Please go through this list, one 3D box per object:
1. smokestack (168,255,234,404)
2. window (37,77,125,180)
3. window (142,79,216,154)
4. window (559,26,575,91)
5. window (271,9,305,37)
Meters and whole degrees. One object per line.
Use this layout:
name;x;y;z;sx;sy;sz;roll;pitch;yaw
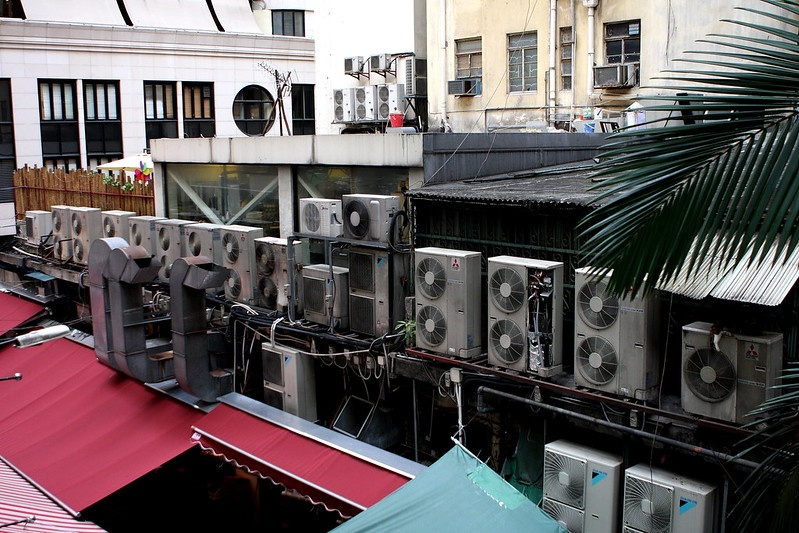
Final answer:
smokestack;-4.054;1.291;16.690;0.972;2.869;0.777;-7;1;-12
window;-12.935;-5.579;32.279;4.425;5.062;0.654;-11;18;-39
window;-9.921;-6.783;36.171;3.421;2.658;0.428;-11;21;-40
window;4.628;-5.752;22.523;0.488;1.912;0.172;-1;-5;12
window;-5.771;-12.528;41.478;2.138;1.712;0.237;0;7;0
